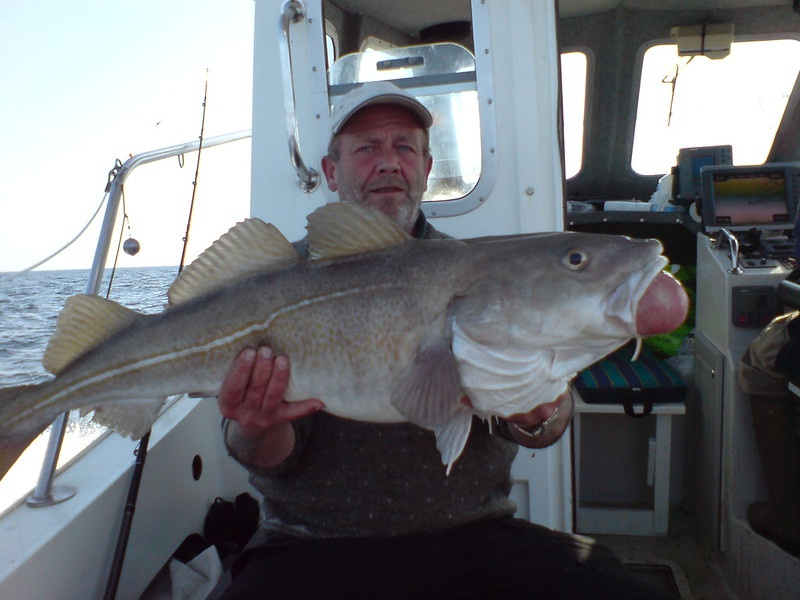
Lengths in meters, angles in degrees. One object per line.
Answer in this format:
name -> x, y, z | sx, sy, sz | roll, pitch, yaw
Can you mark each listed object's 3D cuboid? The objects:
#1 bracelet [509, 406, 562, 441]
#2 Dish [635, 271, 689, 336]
bracelet -> 0.589, 0.537, 2.579 | 0.195, 0.098, 0.216 | -9, -23, -3
Dish -> 0.918, 0.023, 2.144 | 0.183, 0.222, 0.066 | 1, -6, 8
